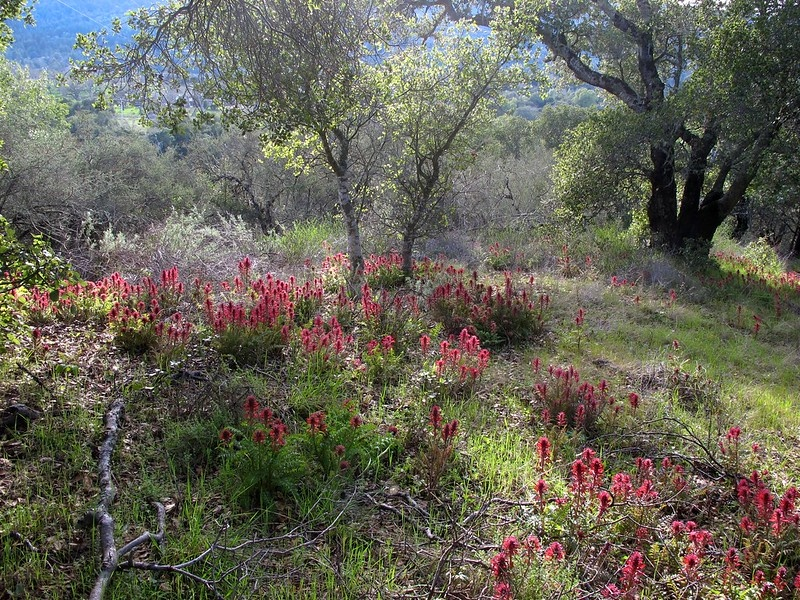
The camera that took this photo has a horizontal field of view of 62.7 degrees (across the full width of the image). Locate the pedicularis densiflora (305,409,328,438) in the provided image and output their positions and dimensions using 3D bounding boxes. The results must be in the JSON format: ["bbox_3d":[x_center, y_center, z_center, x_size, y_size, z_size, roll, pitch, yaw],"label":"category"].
[{"bbox_3d":[-0.738,1.145,6.116,0.182,0.269,0.188,-2,0,-43],"label":"pedicularis densiflora"}]

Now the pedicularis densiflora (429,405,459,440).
[{"bbox_3d":[0.423,1.190,6.320,0.181,0.171,0.326,18,47,-20],"label":"pedicularis densiflora"}]

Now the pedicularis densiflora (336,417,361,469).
[{"bbox_3d":[-0.474,1.321,6.028,0.193,0.505,0.239,16,5,-5],"label":"pedicularis densiflora"}]
